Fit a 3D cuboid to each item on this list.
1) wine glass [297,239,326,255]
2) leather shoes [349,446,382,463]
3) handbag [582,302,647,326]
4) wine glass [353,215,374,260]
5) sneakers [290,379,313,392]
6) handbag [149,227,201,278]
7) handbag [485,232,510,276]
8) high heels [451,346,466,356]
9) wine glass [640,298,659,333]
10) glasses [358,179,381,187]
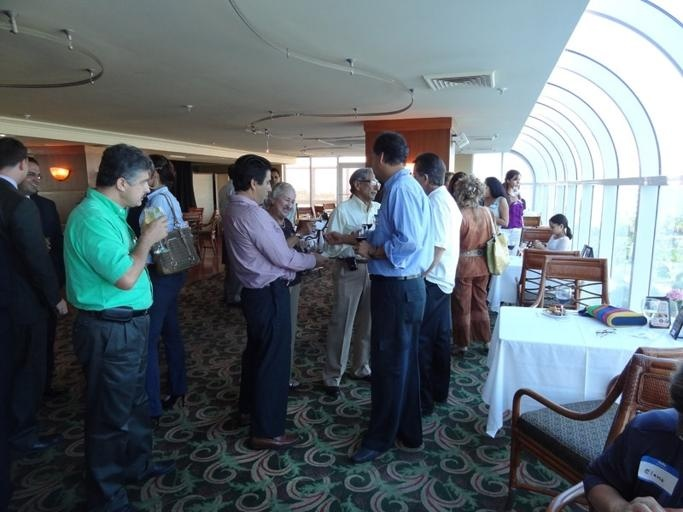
[{"bbox_3d":[-0.263,-0.073,3.716,0.129,0.100,0.215,0,-3,-9],"label":"wine glass"},{"bbox_3d":[0.168,1.407,3.283,0.229,0.095,0.091,-5,12,-19],"label":"leather shoes"},{"bbox_3d":[1.973,0.429,3.361,0.261,0.106,0.418,-4,8,-25],"label":"handbag"},{"bbox_3d":[0.148,-0.185,3.586,0.194,0.370,0.162,1,-10,15],"label":"wine glass"},{"bbox_3d":[-0.372,1.185,4.155,0.195,0.083,0.130,3,0,-18],"label":"sneakers"},{"bbox_3d":[-1.208,-0.086,3.284,0.157,0.392,0.283,-5,8,38],"label":"handbag"},{"bbox_3d":[1.559,-0.037,4.502,0.090,0.274,0.284,-33,-13,34],"label":"handbag"},{"bbox_3d":[1.209,0.986,4.774,0.093,0.125,0.123,-2,-15,-21],"label":"high heels"},{"bbox_3d":[2.169,0.397,3.224,0.089,0.212,0.060,4,8,35],"label":"wine glass"},{"bbox_3d":[0.244,-0.658,4.091,0.115,0.037,0.120,9,3,27],"label":"glasses"}]
